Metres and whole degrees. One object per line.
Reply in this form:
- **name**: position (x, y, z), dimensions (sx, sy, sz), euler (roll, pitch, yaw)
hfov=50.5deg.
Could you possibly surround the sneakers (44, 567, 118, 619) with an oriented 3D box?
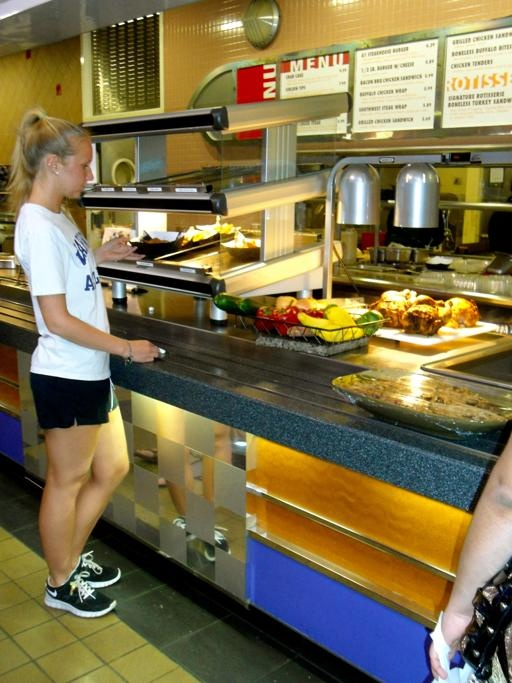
- **sneakers**: position (-0.625, 0.909, 1.963), dimensions (0.282, 0.124, 0.114), euler (8, 14, 4)

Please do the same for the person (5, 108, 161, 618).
- **person**: position (-0.603, 0.128, 1.811), dimensions (0.418, 1.676, 0.405), euler (3, 13, 32)

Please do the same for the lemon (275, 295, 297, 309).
- **lemon**: position (0.097, -0.149, 1.946), dimensions (0.056, 0.052, 0.056), euler (31, 22, 29)

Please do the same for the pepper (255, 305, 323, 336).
- **pepper**: position (0.083, -0.074, 1.845), dimensions (0.093, 0.076, 0.177), euler (-1, 10, -10)

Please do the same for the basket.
- **basket**: position (0.189, -0.014, 1.824), dimensions (0.277, 0.057, 0.178), euler (13, 17, 41)

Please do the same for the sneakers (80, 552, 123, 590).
- **sneakers**: position (-0.606, 0.872, 2.057), dimensions (0.244, 0.096, 0.081), euler (3, 18, 13)

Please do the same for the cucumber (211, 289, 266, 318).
- **cucumber**: position (-0.077, -0.134, 1.974), dimensions (0.216, 0.098, 0.132), euler (1, 11, 19)

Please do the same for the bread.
- **bread**: position (0.641, -0.112, 2.014), dimensions (0.239, 0.084, 0.228), euler (3, 16, -2)

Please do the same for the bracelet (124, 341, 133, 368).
- **bracelet**: position (-0.417, 0.044, 1.775), dimensions (0.031, 0.072, 0.057), euler (-2, 0, -7)

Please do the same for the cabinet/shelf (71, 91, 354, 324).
- **cabinet/shelf**: position (-0.220, -0.570, 2.294), dimensions (0.660, 0.730, 0.902), euler (-19, 24, -39)
